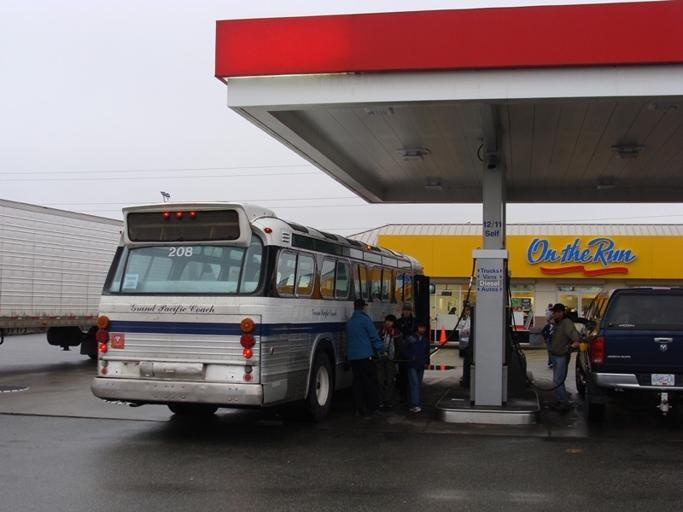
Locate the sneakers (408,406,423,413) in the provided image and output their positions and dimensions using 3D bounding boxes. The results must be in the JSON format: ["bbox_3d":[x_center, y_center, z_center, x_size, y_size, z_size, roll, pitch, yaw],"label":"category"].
[{"bbox_3d":[1.531,3.225,11.487,0.110,0.102,0.273,5,-12,-38],"label":"sneakers"}]

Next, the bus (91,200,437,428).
[{"bbox_3d":[-1.143,1.170,10.334,2.363,3.667,5.351,-4,-10,38],"label":"bus"}]
